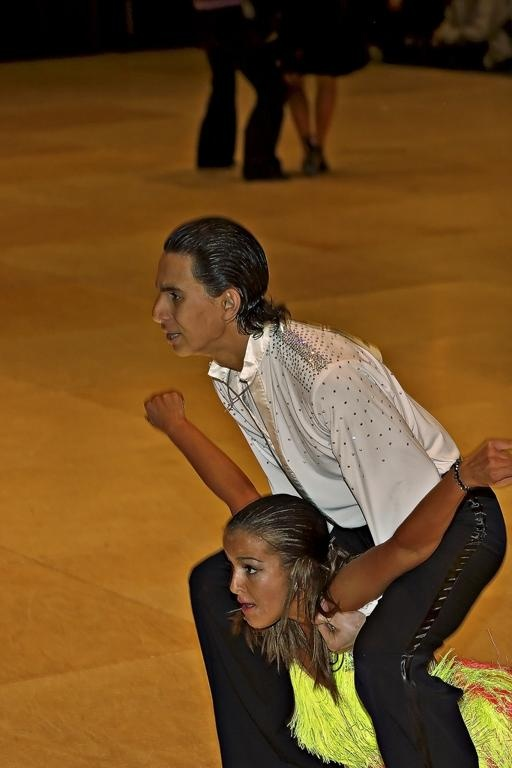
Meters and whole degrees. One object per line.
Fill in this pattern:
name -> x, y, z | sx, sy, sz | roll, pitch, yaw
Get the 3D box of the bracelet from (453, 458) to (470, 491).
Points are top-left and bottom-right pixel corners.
bracelet -> 0.227, 0.101, 0.765 | 0.010, 0.030, 0.026 | -18, -21, 29
